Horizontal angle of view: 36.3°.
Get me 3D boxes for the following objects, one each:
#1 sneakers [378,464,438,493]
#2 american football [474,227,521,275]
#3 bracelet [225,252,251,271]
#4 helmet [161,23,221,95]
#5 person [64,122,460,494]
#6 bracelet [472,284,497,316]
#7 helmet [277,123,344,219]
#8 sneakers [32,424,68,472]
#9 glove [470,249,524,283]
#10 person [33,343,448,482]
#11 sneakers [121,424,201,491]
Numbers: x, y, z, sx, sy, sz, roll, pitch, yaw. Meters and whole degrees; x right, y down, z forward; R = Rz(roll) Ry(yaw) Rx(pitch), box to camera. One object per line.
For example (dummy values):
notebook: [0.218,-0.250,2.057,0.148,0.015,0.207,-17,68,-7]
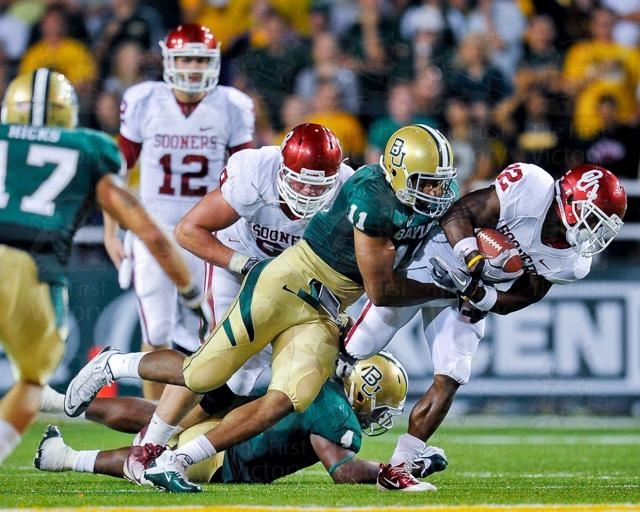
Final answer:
sneakers: [0.410,1.061,4.736,0.294,0.133,0.112,2,2,0]
american football: [0.865,-0.024,4.927,0.230,0.170,0.182,47,1,0]
bracelet: [-0.425,0.031,4.990,0.090,0.091,0.034,31,5,24]
helmet: [-0.773,-1.165,5.855,0.343,0.339,0.408,-3,17,-12]
person: [-0.224,0.297,5.481,0.952,2.194,0.960,19,20,23]
bracelet: [0.839,0.224,4.957,0.108,0.134,0.104,16,49,-43]
helmet: [-0.078,-0.425,4.988,0.325,0.433,0.465,10,46,-12]
sneakers: [-1.376,0.974,4.972,0.110,0.136,0.298,15,3,-15]
glove: [0.900,0.048,4.905,0.197,0.167,0.217,1,-2,12]
person: [-0.478,0.911,4.952,1.569,0.378,0.869,-3,2,1]
sneakers: [-0.833,0.977,4.715,0.477,0.211,0.173,14,-5,21]
